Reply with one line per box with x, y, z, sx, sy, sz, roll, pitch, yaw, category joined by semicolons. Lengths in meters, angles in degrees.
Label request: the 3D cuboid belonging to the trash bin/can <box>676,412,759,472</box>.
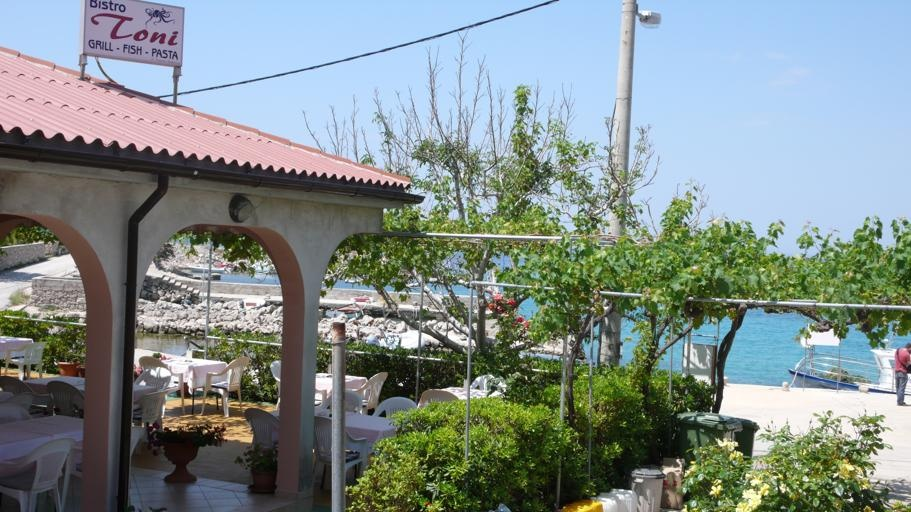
5.313;3.741;20.881;1.099;1.133;1.252;0;0;32;trash bin/can
